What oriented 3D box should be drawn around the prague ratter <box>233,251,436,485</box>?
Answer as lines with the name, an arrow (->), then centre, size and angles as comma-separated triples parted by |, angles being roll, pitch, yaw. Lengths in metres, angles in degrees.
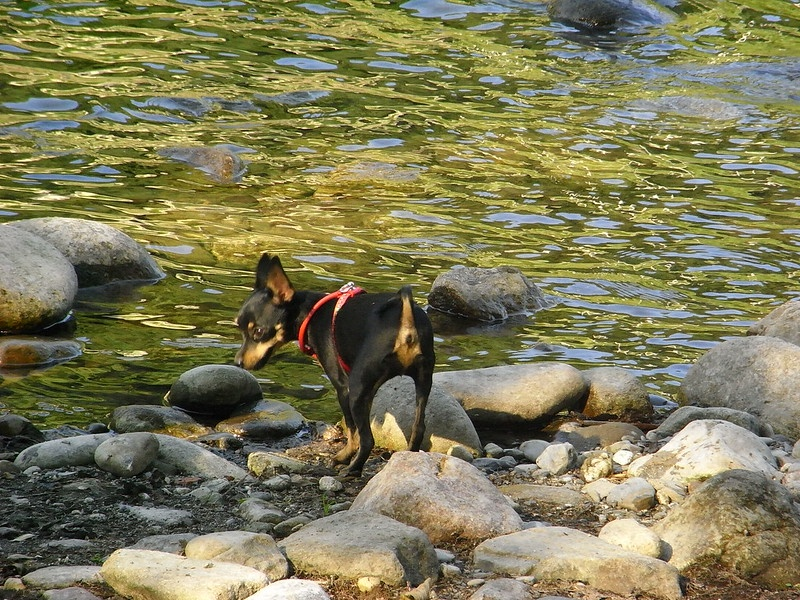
prague ratter -> -0.569, 0.593, 9.957 | 2.541, 1.800, 1.317 | -13, 26, -38
